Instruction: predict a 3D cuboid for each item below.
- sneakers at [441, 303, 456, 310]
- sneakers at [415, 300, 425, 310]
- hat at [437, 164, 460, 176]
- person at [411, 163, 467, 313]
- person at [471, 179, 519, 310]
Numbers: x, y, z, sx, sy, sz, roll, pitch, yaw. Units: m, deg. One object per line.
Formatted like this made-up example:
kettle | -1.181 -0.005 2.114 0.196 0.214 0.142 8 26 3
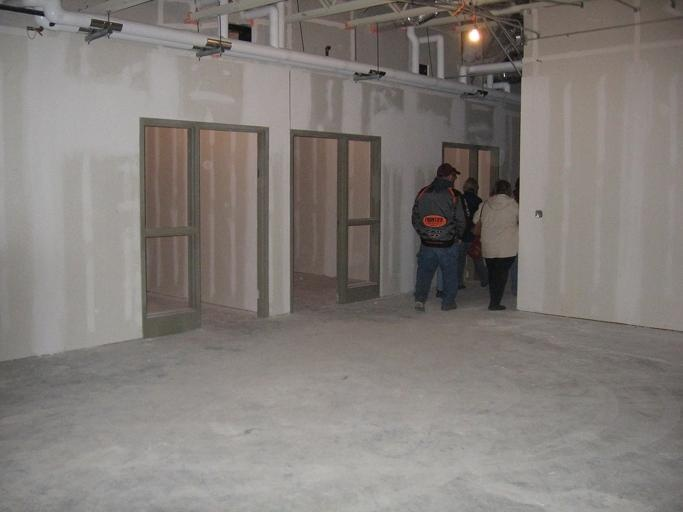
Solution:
sneakers | 1.515 0.706 8.077 0.080 0.108 0.244 7 13 39
sneakers | 1.088 0.679 7.952 0.143 0.142 0.102 5 12 36
hat | 1.576 -1.249 8.394 0.354 0.212 0.258 -17 20 -40
person | 1.390 -0.283 8.131 0.687 2.117 0.697 1 17 13
person | 2.250 -0.136 8.262 0.689 1.910 0.523 2 13 19
